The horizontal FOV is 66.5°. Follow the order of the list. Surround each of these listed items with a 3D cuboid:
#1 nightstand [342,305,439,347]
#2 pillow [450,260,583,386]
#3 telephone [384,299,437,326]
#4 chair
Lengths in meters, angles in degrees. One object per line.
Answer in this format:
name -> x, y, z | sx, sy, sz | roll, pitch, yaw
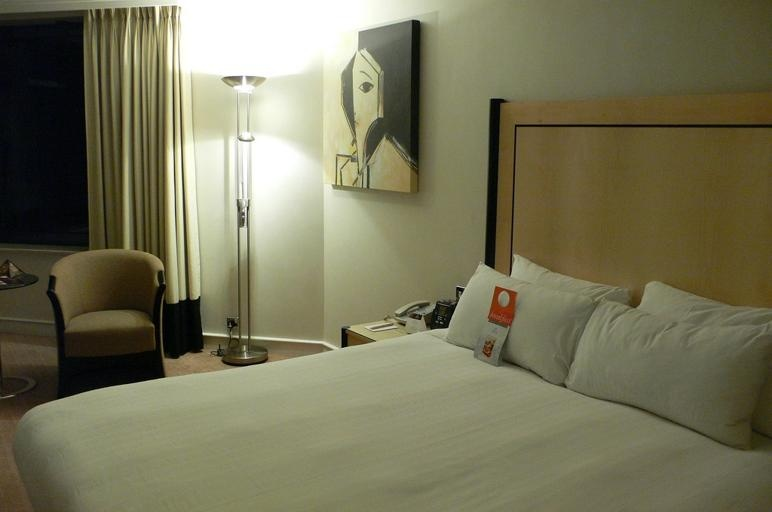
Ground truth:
nightstand -> 0.004, 0.497, 4.219 | 0.418, 0.300, 0.415 | -8, 14, -28
pillow -> 0.773, 0.371, 3.489 | 0.319, 0.545, 0.884 | -7, 14, -38
telephone -> 0.210, 0.392, 4.305 | 0.237, 0.093, 0.222 | -18, 2, -29
chair -> -2.153, 0.509, 4.526 | 0.757, 0.944, 0.725 | -4, 16, -30
